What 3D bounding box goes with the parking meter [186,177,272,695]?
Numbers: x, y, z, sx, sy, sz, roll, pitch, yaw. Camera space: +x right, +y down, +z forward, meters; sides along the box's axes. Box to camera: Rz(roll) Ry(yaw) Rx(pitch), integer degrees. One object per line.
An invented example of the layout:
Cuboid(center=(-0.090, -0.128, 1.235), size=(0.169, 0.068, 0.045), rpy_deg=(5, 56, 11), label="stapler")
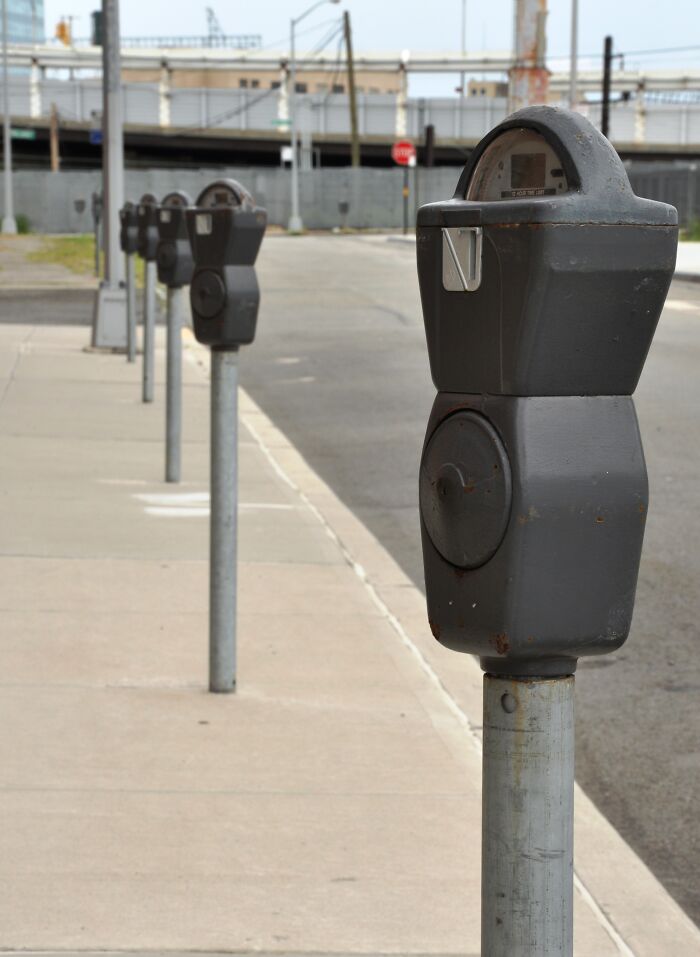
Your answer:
Cuboid(center=(-0.333, -0.116, 4.583), size=(0.193, 1.317, 0.447), rpy_deg=(1, 7, -12), label="parking meter")
